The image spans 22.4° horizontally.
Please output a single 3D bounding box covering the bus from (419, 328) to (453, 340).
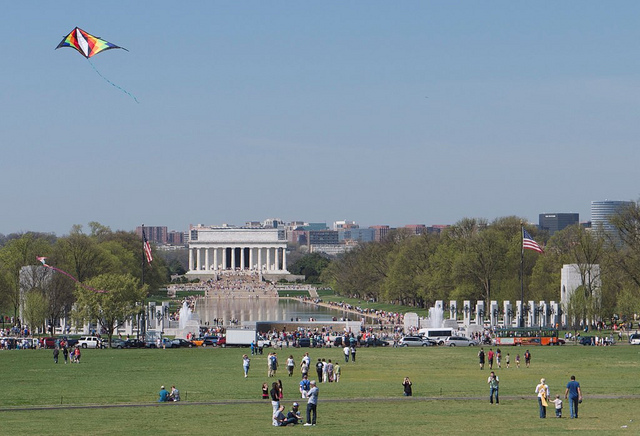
[{"bbox_3d":[10.733,10.739,149.498,1.775,0.797,1.271,-1,1,-4],"label":"bus"}]

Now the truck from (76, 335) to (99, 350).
[{"bbox_3d":[-20.325,11.071,143.355,1.837,0.814,2.974,0,0,-8],"label":"truck"}]

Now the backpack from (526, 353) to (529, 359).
[{"bbox_3d":[16.027,10.741,125.866,0.187,0.368,0.348,0,0,-35],"label":"backpack"}]

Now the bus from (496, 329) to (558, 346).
[{"bbox_3d":[18.596,10.944,146.269,6.725,1.606,1.841,0,0,-8],"label":"bus"}]

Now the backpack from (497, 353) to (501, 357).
[{"bbox_3d":[13.987,10.801,127.001,0.244,0.269,0.139,-5,-9,17],"label":"backpack"}]
